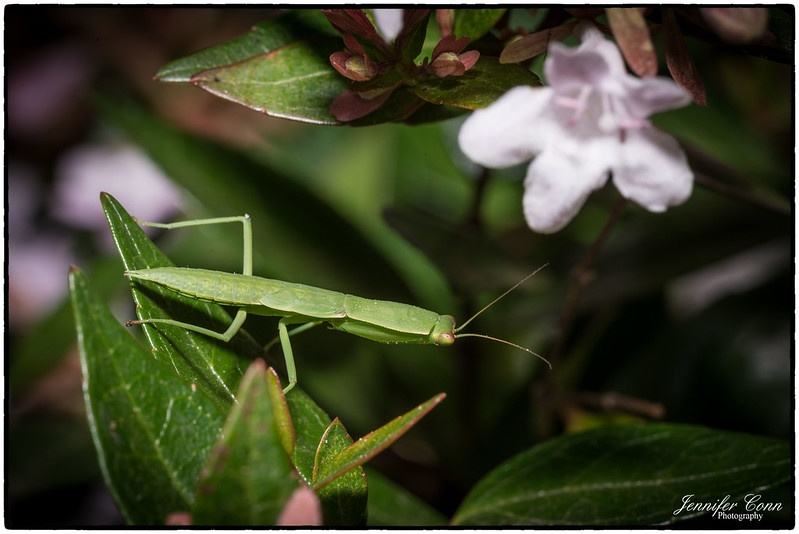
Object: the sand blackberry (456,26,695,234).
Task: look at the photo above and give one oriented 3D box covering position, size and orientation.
[{"bbox_3d":[0.515,-0.487,2.245,0.688,0.579,0.441,0,23,-4],"label":"sand blackberry"}]
